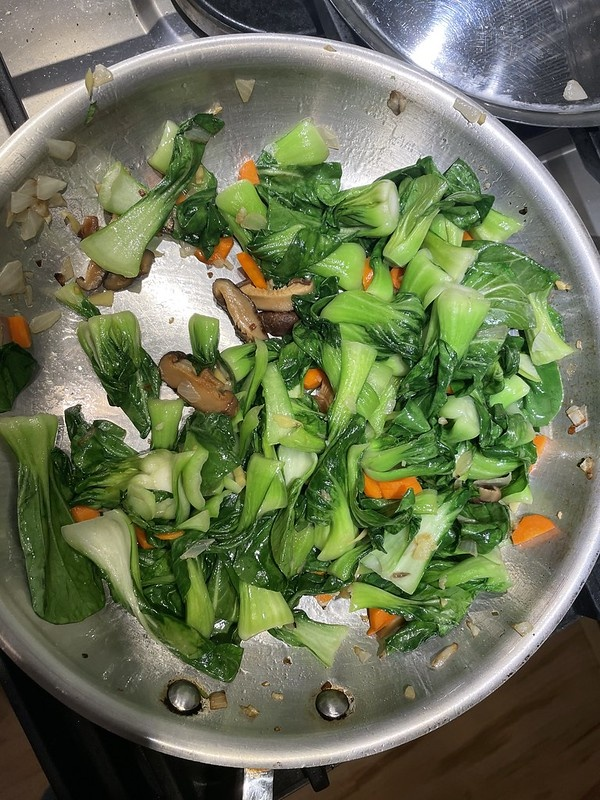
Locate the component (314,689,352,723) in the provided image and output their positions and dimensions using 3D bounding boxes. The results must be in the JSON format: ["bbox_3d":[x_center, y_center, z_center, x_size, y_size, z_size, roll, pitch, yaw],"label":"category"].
[{"bbox_3d":[0.082,0.754,1.680,0.083,0.042,0.088,-1,15,24],"label":"component"}]

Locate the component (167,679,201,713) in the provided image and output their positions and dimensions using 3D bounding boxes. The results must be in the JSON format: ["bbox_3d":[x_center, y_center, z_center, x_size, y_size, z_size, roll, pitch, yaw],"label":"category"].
[{"bbox_3d":[-0.279,0.718,1.624,0.082,0.056,0.074,-10,14,-13],"label":"component"}]
